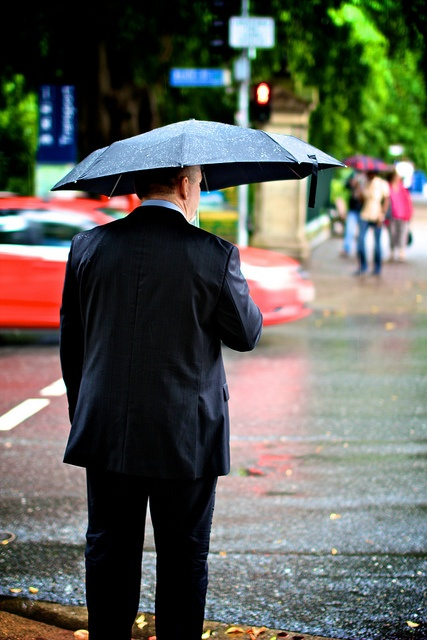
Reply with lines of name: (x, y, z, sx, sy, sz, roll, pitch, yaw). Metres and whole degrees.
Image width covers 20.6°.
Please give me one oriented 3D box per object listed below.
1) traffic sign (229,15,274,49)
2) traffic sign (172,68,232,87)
traffic sign: (0.418, -3.199, 13.009, 0.504, 0.310, 1.003, 0, 9, 2)
traffic sign: (-0.194, -3.045, 14.708, 0.773, 0.209, 0.442, 4, 10, 22)
